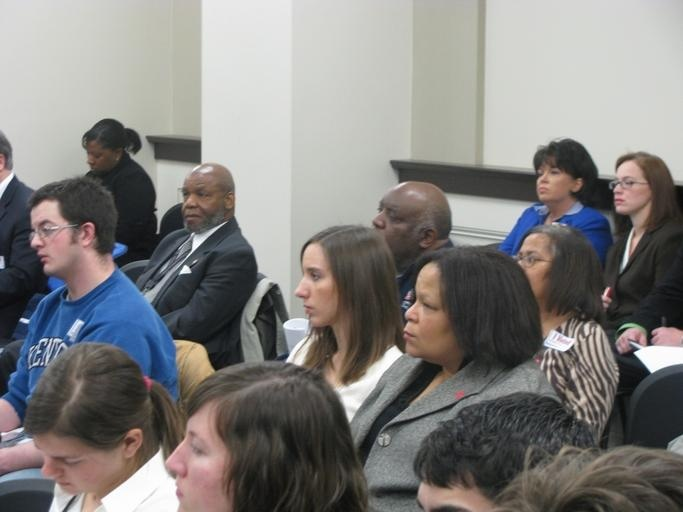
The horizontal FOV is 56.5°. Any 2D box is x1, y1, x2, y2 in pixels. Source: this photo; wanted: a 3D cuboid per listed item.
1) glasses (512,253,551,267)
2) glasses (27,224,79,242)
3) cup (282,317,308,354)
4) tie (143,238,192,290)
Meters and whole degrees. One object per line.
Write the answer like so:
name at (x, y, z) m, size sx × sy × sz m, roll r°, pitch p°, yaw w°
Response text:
glasses at (0.814, 0.017, 2.659) m, size 0.065 × 0.047 × 0.187 m, roll -4°, pitch 9°, yaw -34°
glasses at (-1.266, -0.101, 2.577) m, size 0.110 × 0.029 × 0.105 m, roll -2°, pitch -11°, yaw -43°
cup at (-0.251, 0.384, 3.000) m, size 0.141 × 0.158 × 0.155 m, roll 0°, pitch -3°, yaw 0°
tie at (-1.178, 0.059, 3.965) m, size 0.130 × 0.044 × 0.482 m, roll 27°, pitch 62°, yaw 33°
